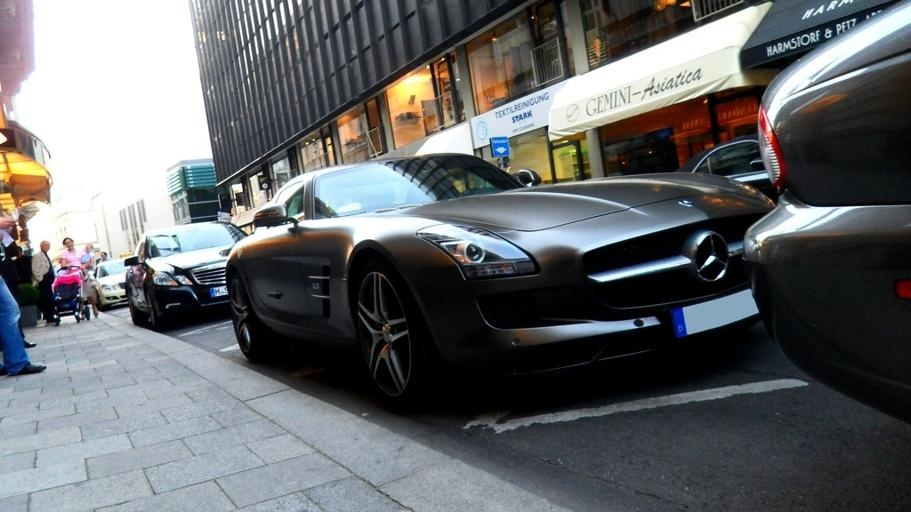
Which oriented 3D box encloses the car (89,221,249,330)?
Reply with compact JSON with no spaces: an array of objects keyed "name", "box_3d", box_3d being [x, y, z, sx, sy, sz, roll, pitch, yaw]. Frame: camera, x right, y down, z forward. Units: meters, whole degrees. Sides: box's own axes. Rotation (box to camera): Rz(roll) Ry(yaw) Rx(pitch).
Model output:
[{"name":"car","box_3d":[-5.742,0.441,10.655,1.760,1.617,3.745,-15,11,-40]}]
